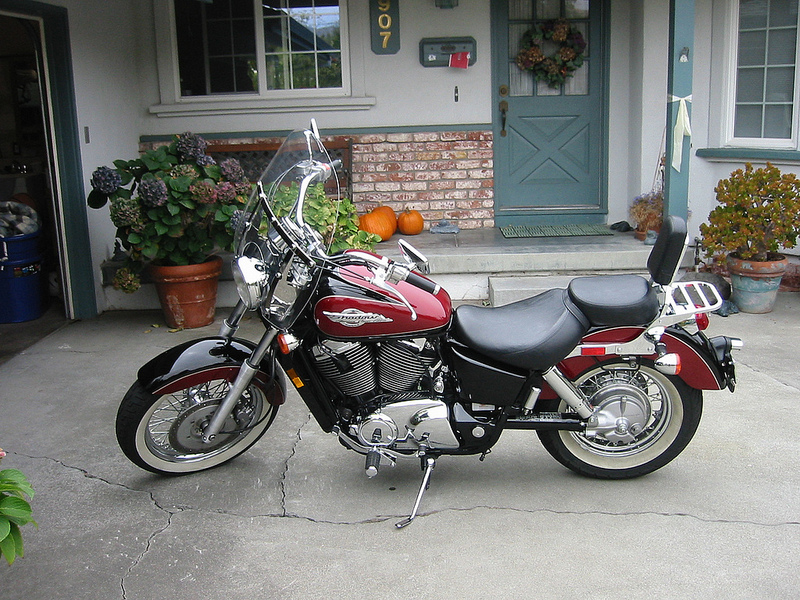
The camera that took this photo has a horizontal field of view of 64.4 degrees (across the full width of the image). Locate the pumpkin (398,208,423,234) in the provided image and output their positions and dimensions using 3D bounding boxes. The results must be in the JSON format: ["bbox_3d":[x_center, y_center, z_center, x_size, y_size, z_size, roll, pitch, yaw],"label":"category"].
[{"bbox_3d":[0.091,-0.826,6.824,0.247,0.251,0.243,-10,1,-15],"label":"pumpkin"}]

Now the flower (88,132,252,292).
[{"bbox_3d":[-2.084,-0.812,5.309,0.899,0.824,0.729,-14,-1,15],"label":"flower"}]

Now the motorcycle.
[{"bbox_3d":[0.095,0.210,3.094,2.847,1.516,0.899,0,16,2],"label":"motorcycle"}]

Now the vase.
[{"bbox_3d":[-1.783,-0.068,5.389,0.576,0.490,0.580,-1,7,-3],"label":"vase"}]

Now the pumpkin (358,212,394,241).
[{"bbox_3d":[-0.221,-0.770,6.407,0.356,0.350,0.362,5,10,38],"label":"pumpkin"}]

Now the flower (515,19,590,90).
[{"bbox_3d":[1.608,-2.623,6.746,0.741,0.234,0.811,7,-9,-8],"label":"flower"}]
